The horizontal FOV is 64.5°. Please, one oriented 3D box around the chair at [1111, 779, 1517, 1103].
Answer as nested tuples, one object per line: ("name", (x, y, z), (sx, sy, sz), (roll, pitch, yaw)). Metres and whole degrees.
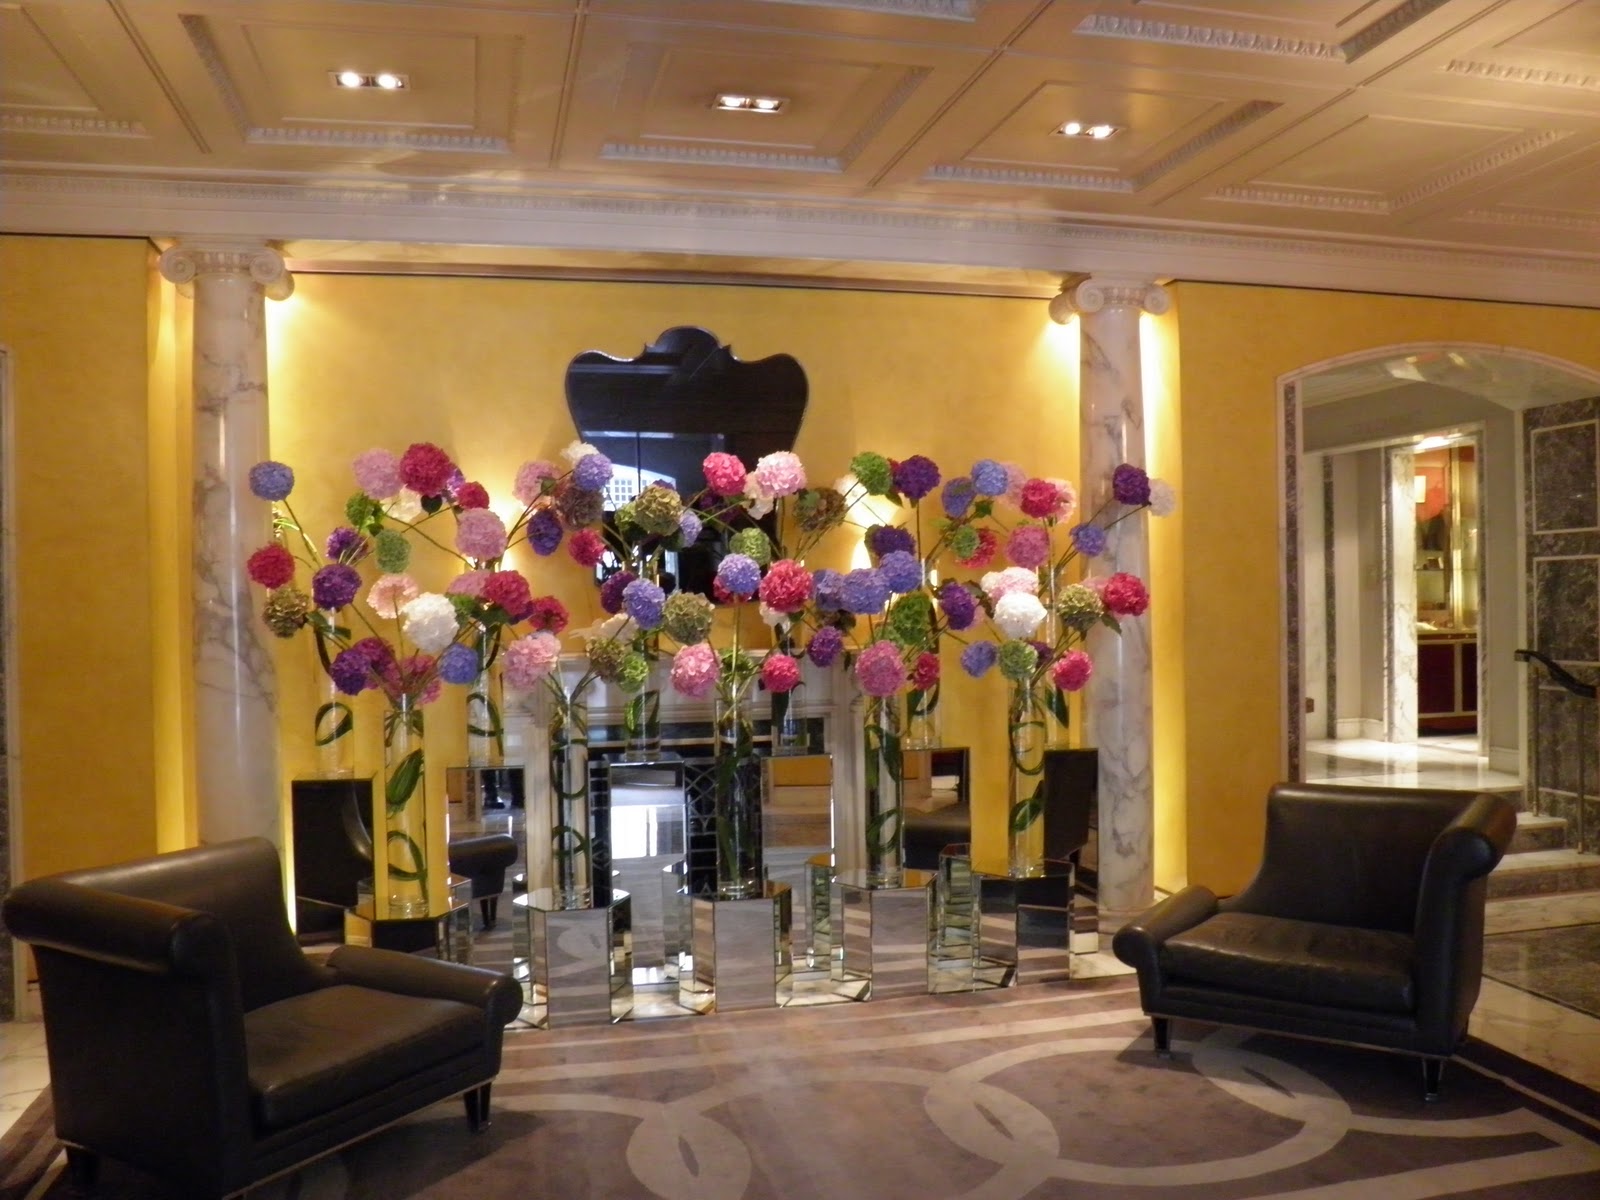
("chair", (2.161, 1.346, 5.351), (1.632, 1.138, 1.172), (-5, -12, 32))
